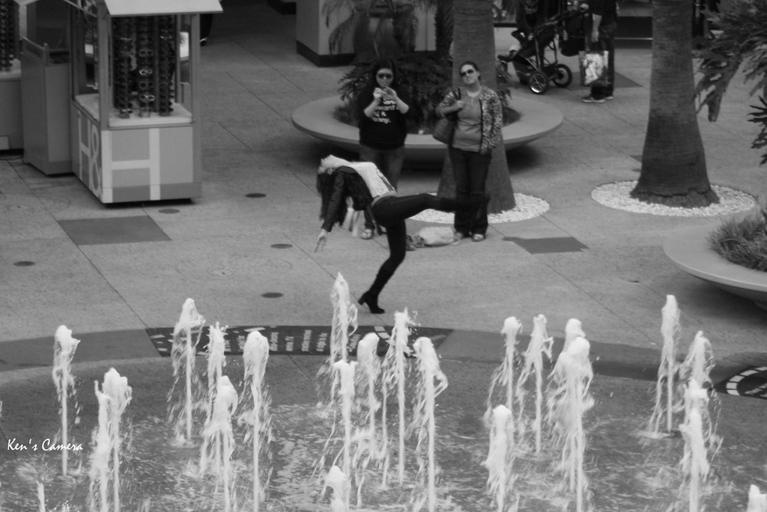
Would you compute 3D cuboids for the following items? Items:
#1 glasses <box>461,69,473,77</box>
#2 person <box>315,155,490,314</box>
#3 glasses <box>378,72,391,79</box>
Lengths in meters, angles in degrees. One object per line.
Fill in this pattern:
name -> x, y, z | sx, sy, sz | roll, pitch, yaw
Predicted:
glasses -> 1.049, -2.302, 13.803 | 0.142, 0.080, 0.079 | 5, 15, 23
person -> -0.002, -0.252, 12.073 | 1.485, 1.675, 0.698 | 0, 15, 2
glasses -> 0.020, -2.243, 13.610 | 0.167, 0.074, 0.048 | -1, 14, -2
